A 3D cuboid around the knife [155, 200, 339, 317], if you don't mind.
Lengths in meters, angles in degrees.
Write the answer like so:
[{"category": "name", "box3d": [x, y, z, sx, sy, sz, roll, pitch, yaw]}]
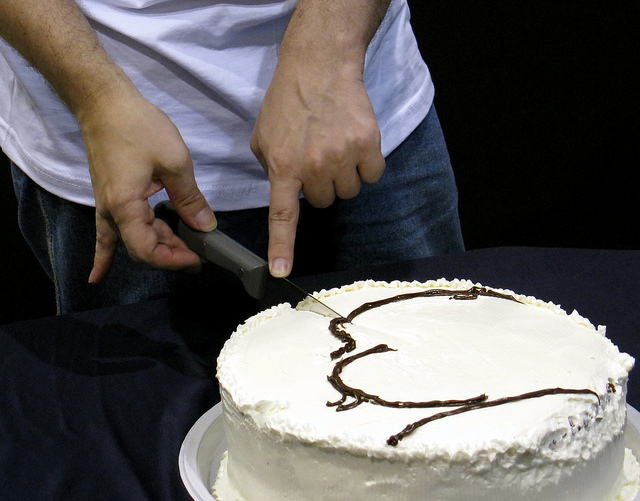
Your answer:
[{"category": "knife", "box3d": [-0.244, 0.061, 3.067, 0.753, 0.149, 0.103, 28, 37, 25]}]
